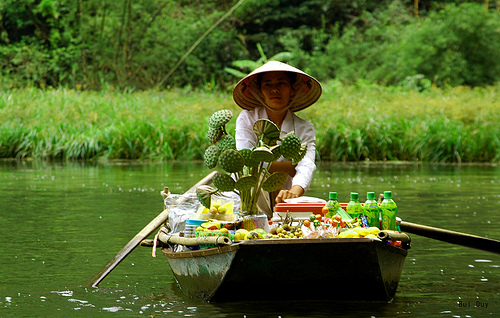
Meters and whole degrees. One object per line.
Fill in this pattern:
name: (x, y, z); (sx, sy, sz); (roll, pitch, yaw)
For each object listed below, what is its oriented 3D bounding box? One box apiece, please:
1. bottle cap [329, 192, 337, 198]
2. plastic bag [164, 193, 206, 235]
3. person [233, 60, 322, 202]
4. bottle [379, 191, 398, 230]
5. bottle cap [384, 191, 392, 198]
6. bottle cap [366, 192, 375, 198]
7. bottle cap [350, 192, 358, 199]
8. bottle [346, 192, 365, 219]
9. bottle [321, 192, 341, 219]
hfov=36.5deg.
bottle cap: (0.966, 0.423, 8.807); (0.065, 0.047, 0.067); (-1, -3, 25)
plastic bag: (-0.815, 0.587, 9.312); (0.664, 0.616, 0.345); (5, 1, 12)
person: (0.344, -0.383, 9.626); (1.078, 1.674, 0.894); (-1, 0, 17)
bottle: (1.616, 0.601, 8.811); (0.212, 0.439, 0.106); (-1, 1, -8)
bottle cap: (1.612, 0.410, 8.807); (0.074, 0.065, 0.075); (1, -11, 0)
bottle cap: (1.413, 0.418, 8.781); (0.066, 0.049, 0.066); (2, -4, -4)
bottle cap: (1.223, 0.428, 8.826); (0.078, 0.062, 0.080); (0, 0, 17)
bottle: (1.235, 0.544, 8.843); (0.203, 0.288, 0.265); (-1, 0, 7)
bottle: (0.951, 0.555, 8.964); (0.258, 0.411, 0.270); (2, -4, 0)
